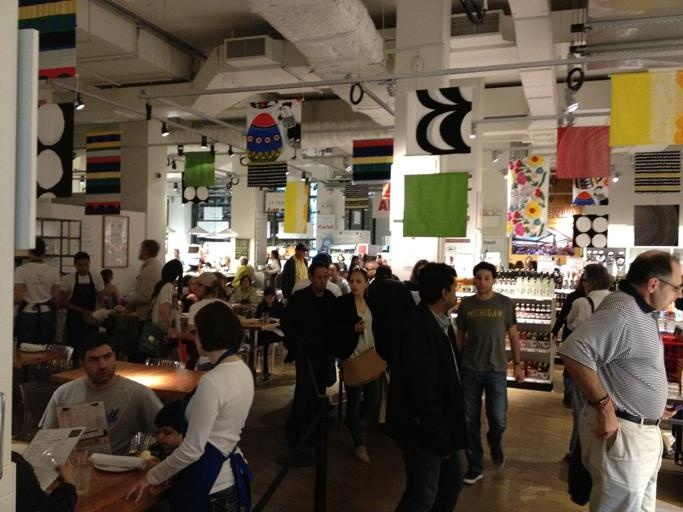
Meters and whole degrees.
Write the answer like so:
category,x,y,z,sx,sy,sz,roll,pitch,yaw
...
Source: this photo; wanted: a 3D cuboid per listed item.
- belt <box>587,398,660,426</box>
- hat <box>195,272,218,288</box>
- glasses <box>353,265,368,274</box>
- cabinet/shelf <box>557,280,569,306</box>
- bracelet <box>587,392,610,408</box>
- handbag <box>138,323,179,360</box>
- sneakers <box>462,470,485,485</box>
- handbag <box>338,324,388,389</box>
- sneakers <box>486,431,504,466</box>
category,x,y,z,sx,sy,sz,roll,pitch,yaw
belt,1.657,0.907,3.317,0.446,0.182,0.091,0,-1,-11
hat,-1.558,0.250,6.501,0.219,0.131,0.170,21,16,31
glasses,0.286,0.186,8.762,0.166,0.135,0.174,-10,-21,14
cabinet/shelf,3.621,0.604,9.290,0.219,0.429,0.435,5,1,26
bracelet,1.473,0.829,3.257,0.033,0.081,0.086,24,-47,-25
handbag,-2.163,0.969,6.420,0.373,0.382,0.263,11,-26,-39
sneakers,1.195,2.041,5.222,0.082,0.084,0.220,-9,-15,42
handbag,0.202,0.927,5.401,0.467,0.477,0.231,-19,-4,-23
sneakers,1.544,1.934,5.683,0.129,0.416,0.280,-8,-6,22
